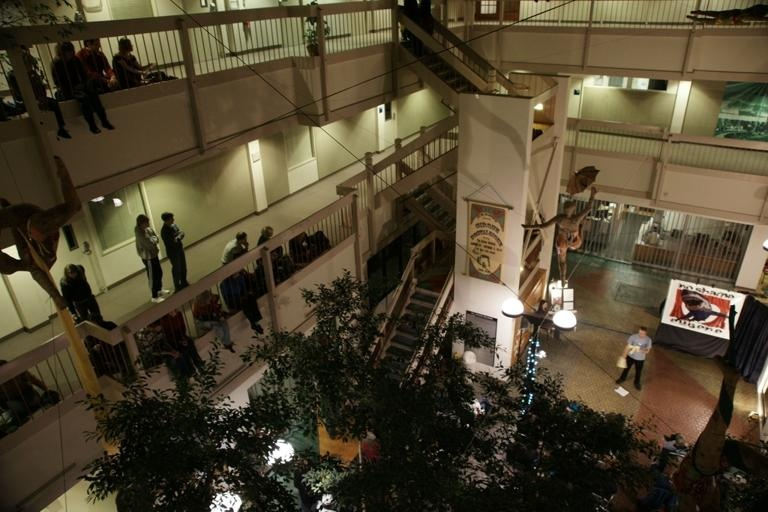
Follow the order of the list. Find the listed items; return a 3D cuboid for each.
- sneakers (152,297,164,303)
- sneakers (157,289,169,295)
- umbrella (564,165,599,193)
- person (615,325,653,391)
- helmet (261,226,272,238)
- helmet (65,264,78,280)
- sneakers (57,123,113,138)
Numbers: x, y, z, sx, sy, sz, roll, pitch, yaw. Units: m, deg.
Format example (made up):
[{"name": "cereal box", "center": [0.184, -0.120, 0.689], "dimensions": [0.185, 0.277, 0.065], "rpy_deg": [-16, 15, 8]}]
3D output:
[{"name": "sneakers", "center": [-5.365, 1.059, 12.546], "dimensions": [0.282, 0.114, 0.139], "rpy_deg": [1, 37, 3]}, {"name": "sneakers", "center": [-5.468, 0.907, 13.166], "dimensions": [0.276, 0.112, 0.094], "rpy_deg": [-11, 49, -27]}, {"name": "umbrella", "center": [5.394, -1.976, 14.610], "dimensions": [0.420, 0.860, 0.838], "rpy_deg": [30, 0, -29]}, {"name": "person", "center": [7.770, 2.944, 16.331], "dimensions": [0.700, 2.060, 0.931], "rpy_deg": [16, 29, 27]}, {"name": "helmet", "center": [-2.923, -0.579, 13.099], "dimensions": [0.221, 0.282, 0.299], "rpy_deg": [6, 35, -1]}, {"name": "helmet", "center": [-6.441, 0.328, 10.914], "dimensions": [0.199, 0.259, 0.261], "rpy_deg": [0, 2, -26]}, {"name": "sneakers", "center": [-6.005, -2.478, 10.569], "dimensions": [0.535, 0.215, 0.166], "rpy_deg": [-19, 51, -22]}]
